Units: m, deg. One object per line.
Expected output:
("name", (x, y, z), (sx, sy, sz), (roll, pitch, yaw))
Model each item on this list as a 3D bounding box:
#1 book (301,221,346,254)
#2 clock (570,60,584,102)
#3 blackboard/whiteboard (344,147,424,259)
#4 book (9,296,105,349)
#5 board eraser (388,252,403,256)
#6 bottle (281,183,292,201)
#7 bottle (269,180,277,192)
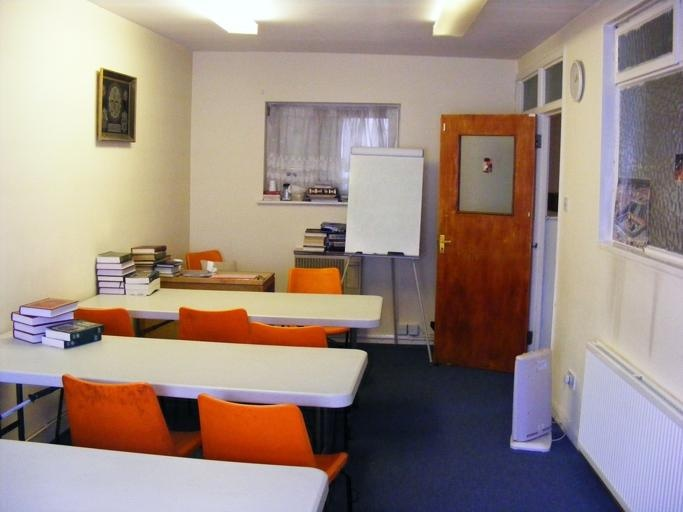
("book", (-0.173, -0.204, 5.769), (0.410, 0.222, 0.319), (2, 6, 10))
("clock", (1.891, -1.427, 4.196), (0.071, 0.337, 0.275), (3, 11, 10))
("blackboard/whiteboard", (0.450, -0.573, 5.488), (1.018, 1.549, 0.194), (3, 1, 4))
("book", (-1.832, 0.445, 3.343), (0.414, 0.174, 0.338), (6, 8, 27))
("board eraser", (0.573, -0.027, 5.470), (0.169, 0.040, 0.036), (4, 11, 9))
("bottle", (-0.646, -0.753, 6.058), (0.099, 0.192, 0.183), (1, 3, 0))
("bottle", (-0.797, -0.828, 6.028), (0.110, 0.139, 0.116), (1, 2, 0))
